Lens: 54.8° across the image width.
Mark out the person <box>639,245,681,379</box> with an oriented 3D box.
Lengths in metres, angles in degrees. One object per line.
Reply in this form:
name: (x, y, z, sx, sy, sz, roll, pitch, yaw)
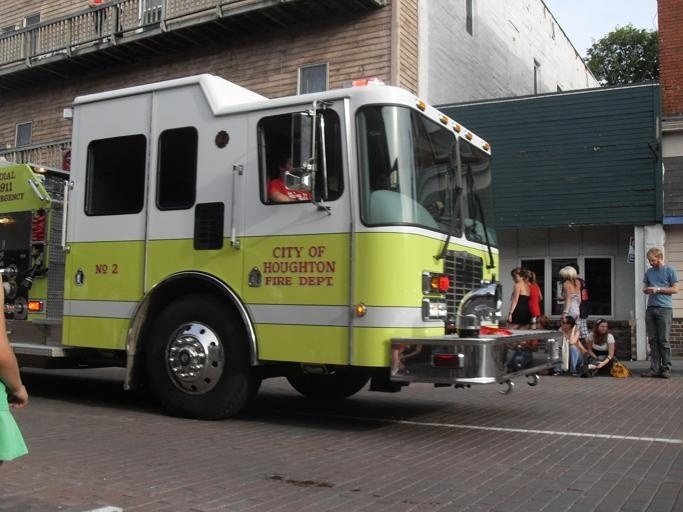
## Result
person: (5.753, 1.034, 11.843, 0.545, 2.351, 0.684, -1, -2, 26)
